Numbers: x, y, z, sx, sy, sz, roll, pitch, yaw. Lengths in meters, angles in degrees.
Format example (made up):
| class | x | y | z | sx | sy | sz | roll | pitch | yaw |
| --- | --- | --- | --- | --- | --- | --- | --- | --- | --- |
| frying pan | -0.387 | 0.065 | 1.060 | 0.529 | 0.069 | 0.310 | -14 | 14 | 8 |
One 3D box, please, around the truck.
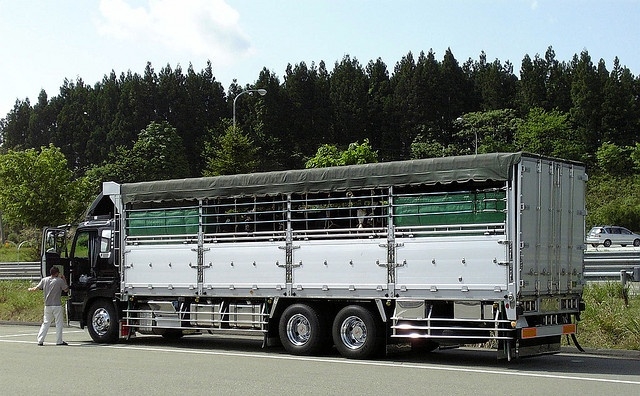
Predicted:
| class | x | y | z | sx | sy | sz | roll | pitch | yaw |
| --- | --- | --- | --- | --- | --- | --- | --- | --- | --- |
| truck | -1.222 | 2.067 | 18.463 | 15.818 | 5.699 | 4.767 | -4 | -7 | 29 |
